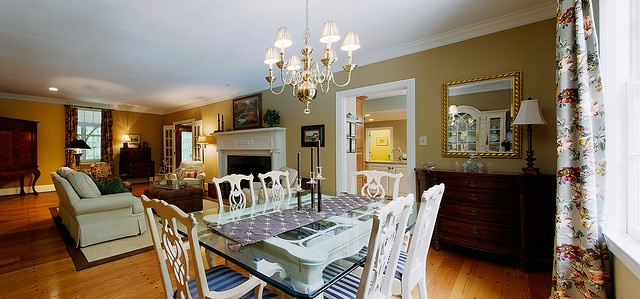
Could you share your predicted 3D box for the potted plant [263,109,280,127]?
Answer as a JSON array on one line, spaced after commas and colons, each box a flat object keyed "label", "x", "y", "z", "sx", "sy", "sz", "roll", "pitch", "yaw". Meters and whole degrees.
[{"label": "potted plant", "x": -1.370, "y": -0.882, "z": 9.446, "sx": 0.529, "sy": 0.499, "sz": 0.603, "roll": -3, "pitch": 6, "yaw": -43}]

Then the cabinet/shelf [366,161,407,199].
[{"label": "cabinet/shelf", "x": 2.274, "y": 1.055, "z": 10.378, "sx": 0.989, "sy": 1.298, "sz": 1.711, "roll": 6, "pitch": -7, "yaw": -43}]

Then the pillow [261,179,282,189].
[{"label": "pillow", "x": -1.097, "y": 0.798, "z": 7.410, "sx": 0.478, "sy": 0.165, "sz": 0.382, "roll": 1, "pitch": 0, "yaw": -10}]

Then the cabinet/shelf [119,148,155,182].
[{"label": "cabinet/shelf", "x": -6.866, "y": 0.553, "z": 12.290, "sx": 0.979, "sy": 1.459, "sz": 1.527, "roll": -5, "pitch": -5, "yaw": 44}]

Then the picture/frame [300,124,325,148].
[{"label": "picture/frame", "x": -0.183, "y": -0.371, "z": 8.810, "sx": 0.917, "sy": 0.567, "sz": 0.045, "roll": 1, "pitch": 2, "yaw": 42}]

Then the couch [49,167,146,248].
[{"label": "couch", "x": -5.294, "y": 1.380, "z": 8.091, "sx": 1.847, "sy": 1.355, "sz": 3.156, "roll": -1, "pitch": 2, "yaw": -42}]

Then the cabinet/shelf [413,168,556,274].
[{"label": "cabinet/shelf", "x": 3.497, "y": 1.472, "z": 6.785, "sx": 2.725, "sy": 1.598, "sz": 0.920, "roll": -1, "pitch": -2, "yaw": 27}]

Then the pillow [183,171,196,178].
[{"label": "pillow", "x": -4.362, "y": 0.829, "z": 11.036, "sx": 0.348, "sy": 0.162, "sz": 0.090, "roll": -2, "pitch": -14, "yaw": 5}]

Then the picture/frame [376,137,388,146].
[{"label": "picture/frame", "x": 2.666, "y": -0.369, "z": 14.136, "sx": 0.462, "sy": 0.269, "sz": 0.020, "roll": 3, "pitch": 6, "yaw": 45}]

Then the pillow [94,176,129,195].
[{"label": "pillow", "x": -5.155, "y": 0.839, "z": 7.983, "sx": 0.837, "sy": 0.205, "sz": 0.799, "roll": 7, "pitch": -5, "yaw": 43}]
